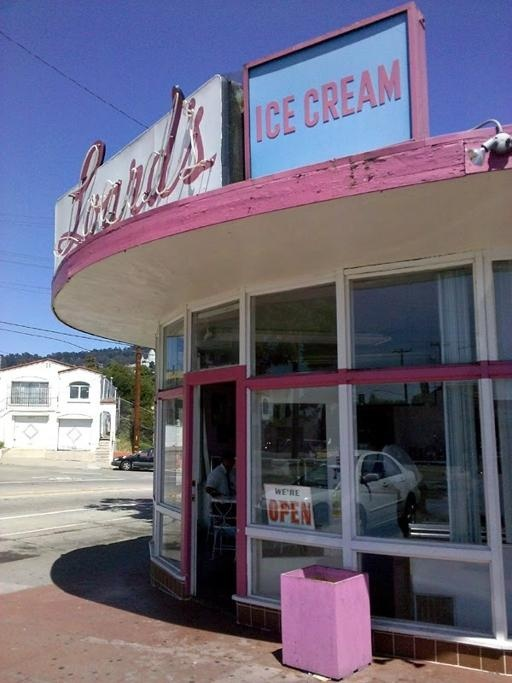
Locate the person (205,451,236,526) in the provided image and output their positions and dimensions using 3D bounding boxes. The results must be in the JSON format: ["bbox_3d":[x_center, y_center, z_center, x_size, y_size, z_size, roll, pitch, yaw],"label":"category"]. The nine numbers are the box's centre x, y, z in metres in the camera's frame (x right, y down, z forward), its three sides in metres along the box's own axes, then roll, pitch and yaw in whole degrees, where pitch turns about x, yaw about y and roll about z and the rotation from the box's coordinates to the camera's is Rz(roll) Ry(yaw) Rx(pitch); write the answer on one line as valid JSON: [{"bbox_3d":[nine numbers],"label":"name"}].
[{"bbox_3d":[-0.452,1.943,7.724,0.370,0.976,1.016,0,-5,-4],"label":"person"}]

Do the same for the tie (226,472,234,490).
[{"bbox_3d":[-0.330,1.828,7.913,0.062,0.208,0.149,0,2,34],"label":"tie"}]
